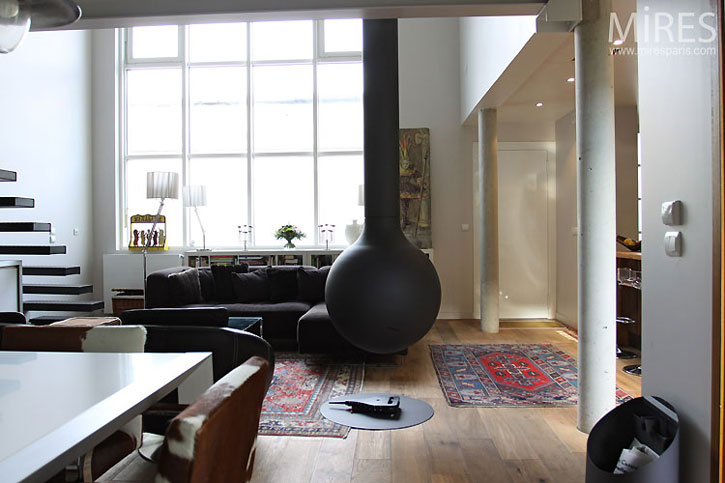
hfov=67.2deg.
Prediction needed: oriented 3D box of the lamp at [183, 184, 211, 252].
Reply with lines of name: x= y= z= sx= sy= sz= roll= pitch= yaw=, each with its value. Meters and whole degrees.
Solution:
lamp: x=-2.461 y=-0.358 z=8.079 sx=0.334 sy=0.958 sz=0.675 roll=-3 pitch=8 yaw=-18

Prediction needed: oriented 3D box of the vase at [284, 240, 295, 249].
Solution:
vase: x=-1.073 y=0.030 z=8.009 sx=0.118 sy=0.128 sz=0.126 roll=3 pitch=5 yaw=14

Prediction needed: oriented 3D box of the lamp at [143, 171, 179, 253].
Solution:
lamp: x=-2.906 y=-0.473 z=7.942 sx=0.484 sy=1.095 sz=0.603 roll=-3 pitch=9 yaw=-20

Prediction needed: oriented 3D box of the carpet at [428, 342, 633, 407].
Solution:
carpet: x=1.446 y=1.208 z=5.470 sx=1.492 sy=0.243 sz=1.860 roll=1 pitch=8 yaw=6

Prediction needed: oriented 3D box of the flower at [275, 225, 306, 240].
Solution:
flower: x=-1.079 y=-0.111 z=8.091 sx=0.292 sy=0.198 sz=0.290 roll=1 pitch=-1 yaw=-4

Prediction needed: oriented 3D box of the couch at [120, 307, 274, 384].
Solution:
couch: x=-1.131 y=0.570 z=3.948 sx=0.689 sy=0.745 sz=0.712 roll=2 pitch=-1 yaw=11
